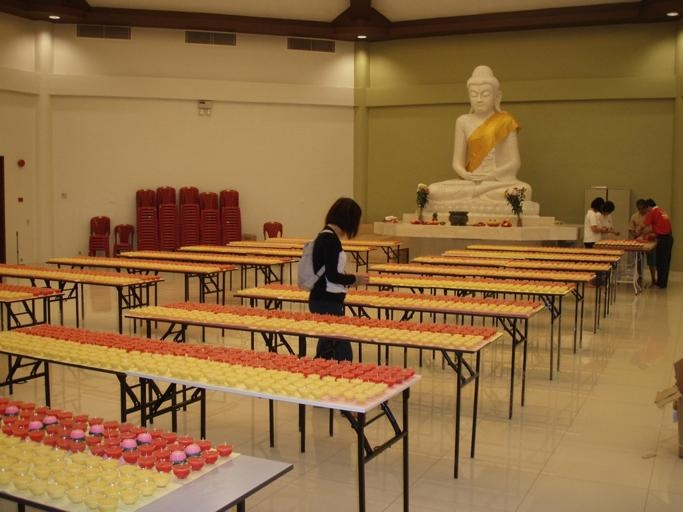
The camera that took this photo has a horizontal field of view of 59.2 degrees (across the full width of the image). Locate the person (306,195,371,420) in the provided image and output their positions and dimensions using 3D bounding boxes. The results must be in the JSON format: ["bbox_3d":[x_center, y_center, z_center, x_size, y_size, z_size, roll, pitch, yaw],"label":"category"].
[{"bbox_3d":[-0.033,0.182,4.906,0.478,1.310,0.652,0,6,0],"label":"person"}]

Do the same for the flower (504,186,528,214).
[{"bbox_3d":[3.786,-1.229,12.750,0.607,0.746,0.646,-3,-2,18],"label":"flower"}]

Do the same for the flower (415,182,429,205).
[{"bbox_3d":[1.874,-1.401,13.937,0.221,0.540,0.530,2,7,13],"label":"flower"}]
